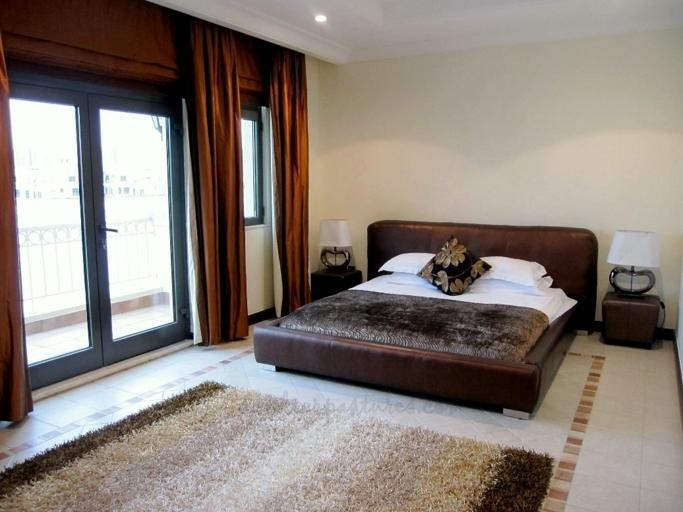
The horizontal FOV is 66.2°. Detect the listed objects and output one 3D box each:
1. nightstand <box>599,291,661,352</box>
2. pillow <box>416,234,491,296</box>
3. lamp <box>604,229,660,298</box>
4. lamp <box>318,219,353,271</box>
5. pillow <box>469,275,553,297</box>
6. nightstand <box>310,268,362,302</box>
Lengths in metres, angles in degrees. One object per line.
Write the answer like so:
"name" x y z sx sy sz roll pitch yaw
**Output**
"nightstand" 2.721 0.613 4.966 0.470 0.522 0.515 2 9 24
"pillow" 1.112 0.124 5.204 0.708 0.185 0.784 -12 51 15
"lamp" 2.820 0.057 5.065 0.419 0.630 0.486 3 10 32
"lamp" -0.056 -0.135 6.164 0.410 0.637 0.368 7 19 27
"pillow" 1.598 0.301 5.111 0.452 0.088 0.323 6 16 22
"nightstand" -0.064 0.268 6.157 0.384 0.417 0.404 9 19 35
